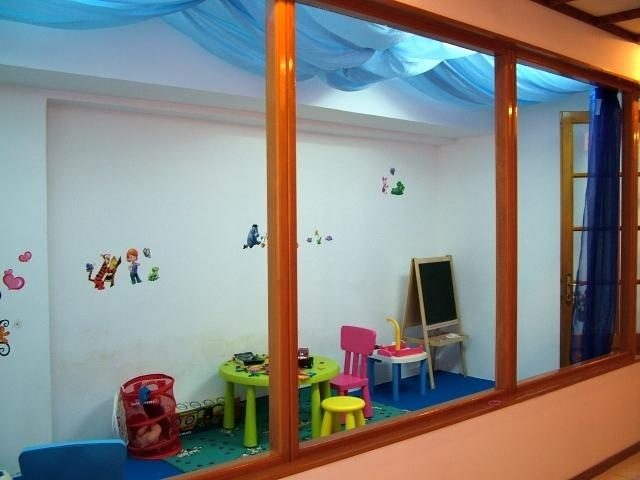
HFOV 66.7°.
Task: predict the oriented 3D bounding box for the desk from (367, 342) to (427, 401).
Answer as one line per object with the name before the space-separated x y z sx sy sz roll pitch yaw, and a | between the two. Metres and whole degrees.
desk | 0.918 1.460 5.570 0.596 0.472 0.640 -3 -1 20

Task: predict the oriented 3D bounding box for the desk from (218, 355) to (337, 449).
desk | -0.404 1.545 4.634 0.913 0.591 0.957 -3 -8 -22

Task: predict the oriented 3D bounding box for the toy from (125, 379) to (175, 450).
toy | -1.478 1.520 4.228 0.454 0.680 0.375 -6 -1 -20

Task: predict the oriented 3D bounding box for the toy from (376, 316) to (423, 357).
toy | 0.888 1.044 5.507 0.401 0.376 0.471 -1 -2 -35

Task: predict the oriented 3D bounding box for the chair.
chair | 0.256 1.373 5.008 0.512 0.904 0.521 0 -1 -30

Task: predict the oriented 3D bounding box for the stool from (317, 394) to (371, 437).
stool | 0.159 1.460 4.002 0.345 0.332 0.473 -6 -1 -17

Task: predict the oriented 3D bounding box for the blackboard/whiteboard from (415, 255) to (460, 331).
blackboard/whiteboard | 1.410 0.645 5.873 0.807 1.076 0.334 -4 -4 -45

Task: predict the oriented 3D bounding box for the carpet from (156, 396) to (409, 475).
carpet | -0.377 1.383 3.455 0.958 0.006 0.581 -3 3 -33
